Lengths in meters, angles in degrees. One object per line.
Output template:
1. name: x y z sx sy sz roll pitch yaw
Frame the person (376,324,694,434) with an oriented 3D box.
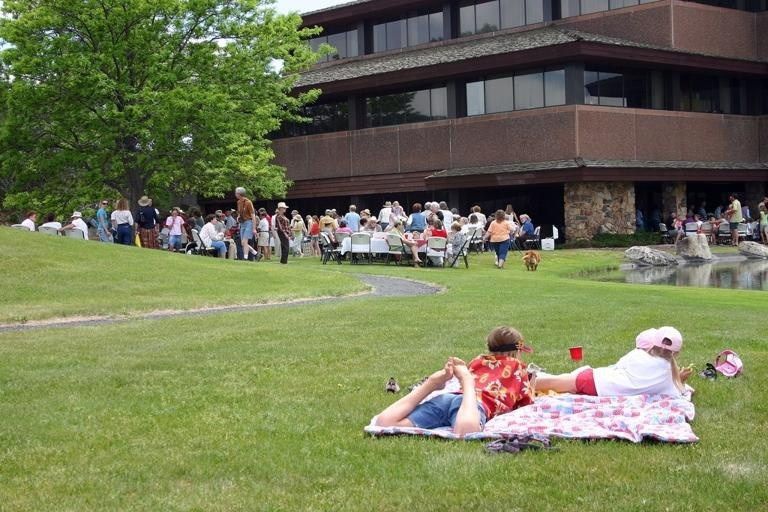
1. person: 1.911 1.510 10.168 3.925 1.272 0.886 -2 10 -11

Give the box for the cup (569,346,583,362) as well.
1. cup: 2.905 1.448 11.493 0.272 0.225 0.276 -4 -2 0

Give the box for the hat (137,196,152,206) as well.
1. hat: -7.769 -1.779 25.159 0.316 0.316 0.821 -4 11 -23

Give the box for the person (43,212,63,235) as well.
1. person: -11.718 -1.142 27.312 0.603 0.854 1.464 -4 11 -22
